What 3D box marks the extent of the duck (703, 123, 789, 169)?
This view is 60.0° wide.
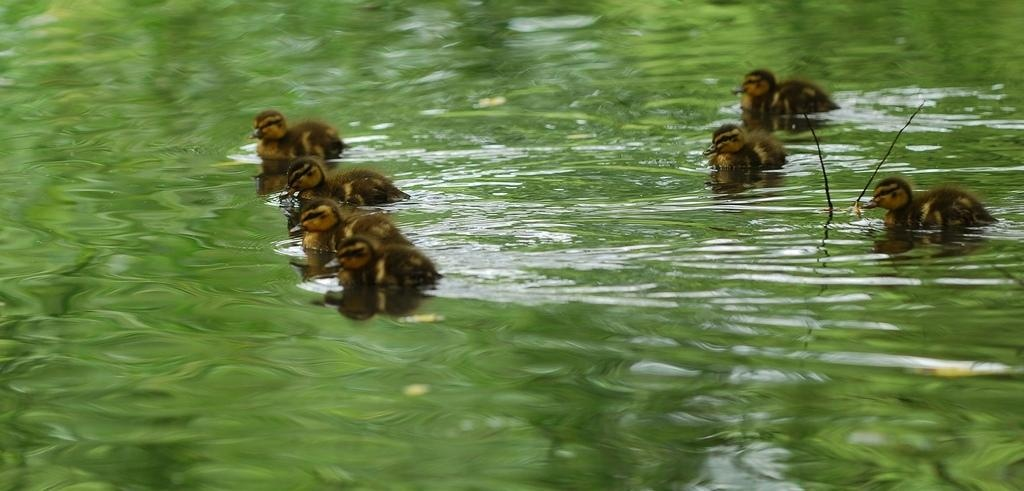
[{"bbox_3d":[2.757,-1.170,10.563,0.955,0.556,0.527,-4,25,5],"label":"duck"}]
